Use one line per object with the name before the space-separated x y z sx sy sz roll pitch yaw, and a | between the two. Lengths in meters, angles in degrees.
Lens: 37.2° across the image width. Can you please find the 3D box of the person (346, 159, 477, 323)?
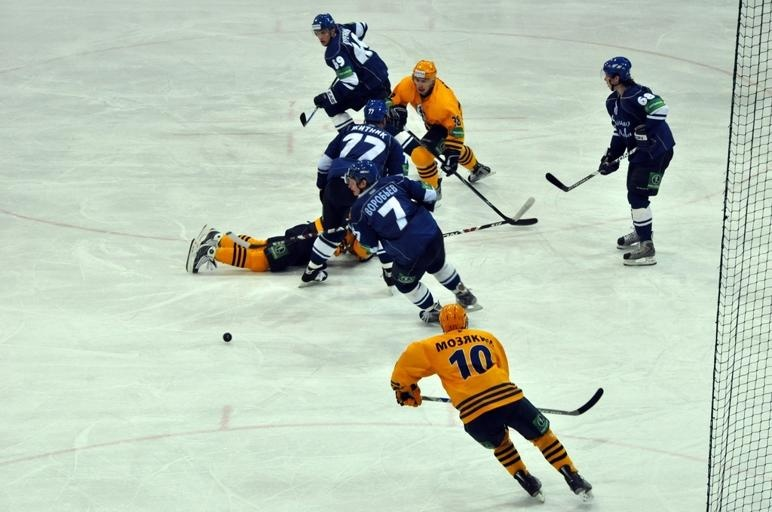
person | 0.226 -0.125 11.056 1.050 1.668 0.632 -4 34 10

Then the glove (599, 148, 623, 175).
glove | 2.429 -1.014 12.453 0.226 0.131 0.271 38 90 24

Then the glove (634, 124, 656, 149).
glove | 2.667 -1.231 11.808 0.219 0.239 0.272 -19 8 20

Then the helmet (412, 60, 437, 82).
helmet | 0.401 -2.002 12.546 0.308 0.236 0.293 3 25 11

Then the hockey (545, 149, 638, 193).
hockey | 2.331 -0.950 13.100 0.176 1.408 0.260 -3 70 -32

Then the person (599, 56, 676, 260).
person | 2.572 -1.014 11.950 0.770 2.052 1.211 -5 33 10

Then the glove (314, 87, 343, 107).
glove | -0.677 -1.815 13.210 0.276 0.075 0.173 -6 27 4

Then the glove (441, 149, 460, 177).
glove | 0.699 -1.020 12.773 0.147 0.321 0.169 3 0 2

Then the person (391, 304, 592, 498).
person | 0.658 1.203 10.046 1.142 0.651 2.143 -31 74 -28

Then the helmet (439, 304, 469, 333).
helmet | 0.583 0.534 9.861 0.248 0.233 0.273 -1 21 12

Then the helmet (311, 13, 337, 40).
helmet | -0.701 -2.611 13.108 0.271 0.287 0.185 -10 32 0

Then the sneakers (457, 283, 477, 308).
sneakers | 0.729 0.385 11.418 0.119 0.155 0.321 -54 34 8

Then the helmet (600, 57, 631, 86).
helmet | 2.351 -1.944 11.880 0.372 0.274 0.247 9 34 9
